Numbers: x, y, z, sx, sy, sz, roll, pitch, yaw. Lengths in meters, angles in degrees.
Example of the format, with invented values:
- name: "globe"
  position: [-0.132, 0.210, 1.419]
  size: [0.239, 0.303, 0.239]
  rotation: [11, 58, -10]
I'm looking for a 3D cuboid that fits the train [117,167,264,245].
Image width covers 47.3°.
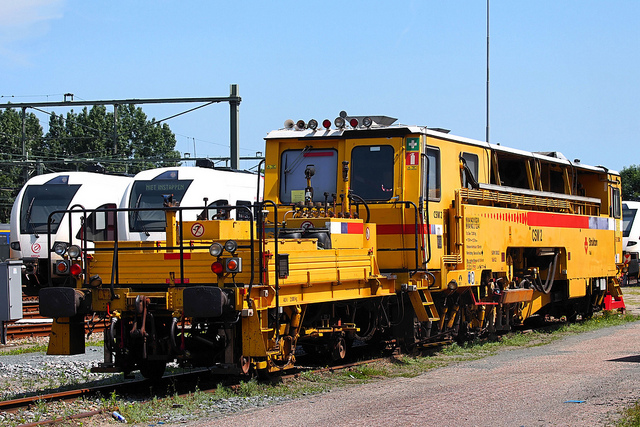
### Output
- name: "train"
  position: [-5.076, -0.320, 28.264]
  size: [2.949, 3.024, 6.418]
  rotation: [-1, -2, 24]

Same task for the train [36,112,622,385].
- name: "train"
  position: [2.950, 1.138, 21.805]
  size: [6.684, 6.834, 22.876]
  rotation: [-3, -5, 38]
